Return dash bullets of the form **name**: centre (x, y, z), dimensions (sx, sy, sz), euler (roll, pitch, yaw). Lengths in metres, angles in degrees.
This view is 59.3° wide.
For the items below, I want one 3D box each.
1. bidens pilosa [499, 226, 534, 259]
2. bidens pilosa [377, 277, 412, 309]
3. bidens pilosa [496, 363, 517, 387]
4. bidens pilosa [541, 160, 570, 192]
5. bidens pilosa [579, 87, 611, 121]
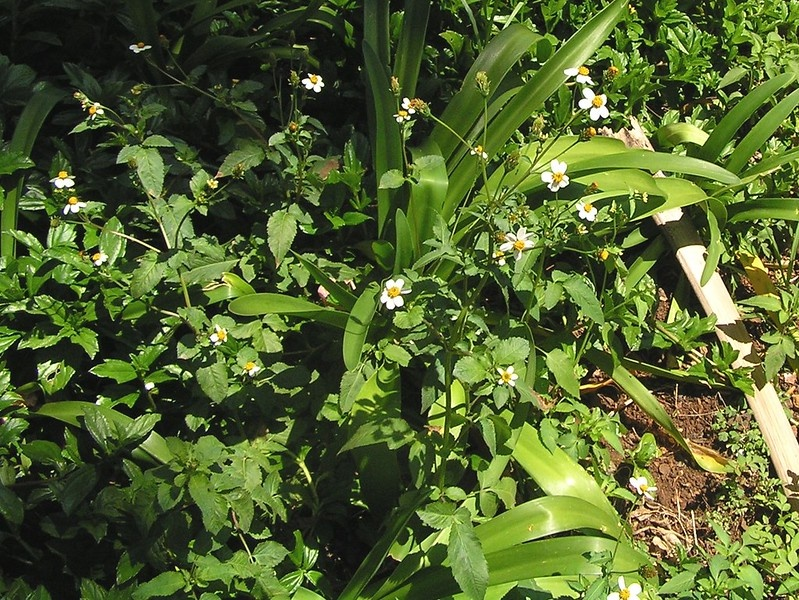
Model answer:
- **bidens pilosa**: centre (0.445, -0.213, 2.653), dimensions (0.127, 0.120, 0.109), euler (4, -3, 9)
- **bidens pilosa**: centre (-0.015, -0.025, 2.637), dimensions (0.111, 0.114, 0.090), euler (4, -3, 3)
- **bidens pilosa**: centre (0.397, 0.278, 2.570), dimensions (0.080, 0.073, 0.040), euler (4, -3, 1)
- **bidens pilosa**: centre (0.632, -0.495, 2.826), dimensions (0.098, 0.124, 0.176), euler (4, -3, 16)
- **bidens pilosa**: centre (0.785, -0.776, 2.830), dimensions (0.102, 0.145, 0.240), euler (4, -3, 15)
